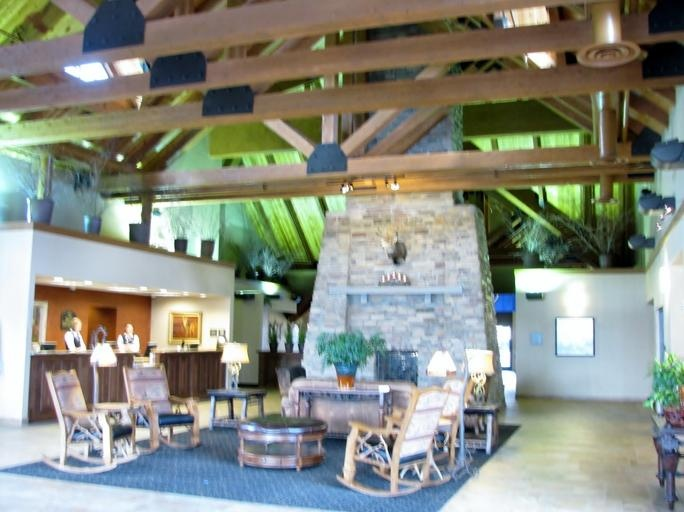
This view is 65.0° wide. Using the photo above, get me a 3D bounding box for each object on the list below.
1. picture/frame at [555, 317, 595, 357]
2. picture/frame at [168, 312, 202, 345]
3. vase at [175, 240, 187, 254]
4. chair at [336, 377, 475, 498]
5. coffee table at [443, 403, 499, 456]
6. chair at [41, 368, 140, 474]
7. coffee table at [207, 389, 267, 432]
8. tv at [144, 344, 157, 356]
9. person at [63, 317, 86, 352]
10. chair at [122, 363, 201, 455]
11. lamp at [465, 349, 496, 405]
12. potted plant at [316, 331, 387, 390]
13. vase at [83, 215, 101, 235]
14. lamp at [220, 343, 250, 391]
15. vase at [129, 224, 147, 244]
[{"bbox_3d":[6.232,2.158,14.388,0.980,1.096,0.063,-2,9,13],"label":"picture/frame"},{"bbox_3d":[-4.118,1.905,13.964,0.737,0.823,0.089,1,-8,-8],"label":"picture/frame"},{"bbox_3d":[-3.974,-0.230,13.341,0.327,0.368,0.349,0,-3,8],"label":"vase"},{"bbox_3d":[0.706,2.084,6.511,1.103,1.680,1.715,4,-5,-32],"label":"chair"},{"bbox_3d":[2.009,2.611,8.147,0.821,0.557,0.847,0,-9,2],"label":"coffee table"},{"bbox_3d":[-3.095,2.003,6.701,0.921,1.145,0.972,-3,-7,9],"label":"chair"},{"bbox_3d":[-2.023,2.745,9.586,0.963,0.687,1.002,-11,-20,25],"label":"coffee table"},{"bbox_3d":[-4.207,2.064,11.786,0.084,0.306,0.323,31,-18,-30],"label":"tv"},{"bbox_3d":[-5.428,1.572,10.934,0.352,0.641,1.768,1,-6,-27],"label":"person"},{"bbox_3d":[-2.533,2.149,7.551,1.000,1.209,0.772,-9,-11,31],"label":"chair"},{"bbox_3d":[2.010,1.729,7.944,0.467,0.782,0.484,-1,2,33],"label":"lamp"},{"bbox_3d":[0.098,1.626,8.237,0.931,0.845,1.037,9,-20,-11],"label":"potted plant"},{"bbox_3d":[-5.335,-0.631,11.472,0.383,0.480,0.403,-2,-2,30],"label":"vase"},{"bbox_3d":[-1.803,1.826,9.058,0.483,0.767,0.498,-2,-3,41],"label":"lamp"},{"bbox_3d":[-4.766,-0.549,12.528,0.389,0.478,0.269,1,-5,-17],"label":"vase"}]
